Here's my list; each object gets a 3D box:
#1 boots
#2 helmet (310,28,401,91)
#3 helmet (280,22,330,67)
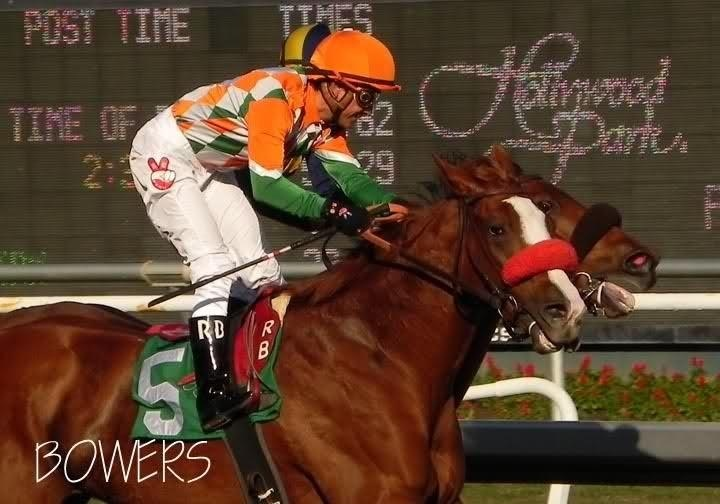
[{"bbox_3d":[-0.562,0.486,4.806,0.188,0.446,0.222,-4,15,-20],"label":"boots"},{"bbox_3d":[-0.049,-0.812,4.996,0.424,0.202,0.301,6,18,12],"label":"helmet"},{"bbox_3d":[-0.257,-0.944,5.425,0.274,0.186,0.255,-5,6,-2],"label":"helmet"}]
